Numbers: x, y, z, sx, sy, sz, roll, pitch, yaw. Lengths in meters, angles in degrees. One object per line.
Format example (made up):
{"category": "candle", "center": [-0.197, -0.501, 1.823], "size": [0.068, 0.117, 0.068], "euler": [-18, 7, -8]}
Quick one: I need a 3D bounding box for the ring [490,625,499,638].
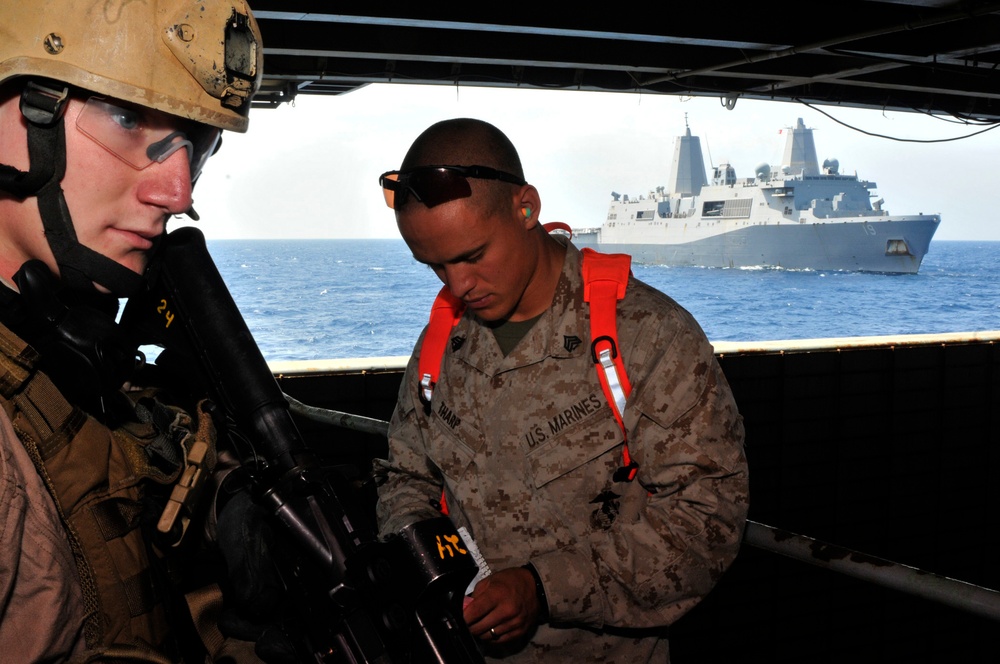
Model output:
{"category": "ring", "center": [-0.022, 1.041, 3.479], "size": [0.020, 0.031, 0.029], "euler": [13, 46, -16]}

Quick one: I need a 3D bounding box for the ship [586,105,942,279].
{"category": "ship", "center": [10.496, -5.833, 44.551], "size": [4.960, 6.515, 19.417], "euler": [1, 3, -30]}
